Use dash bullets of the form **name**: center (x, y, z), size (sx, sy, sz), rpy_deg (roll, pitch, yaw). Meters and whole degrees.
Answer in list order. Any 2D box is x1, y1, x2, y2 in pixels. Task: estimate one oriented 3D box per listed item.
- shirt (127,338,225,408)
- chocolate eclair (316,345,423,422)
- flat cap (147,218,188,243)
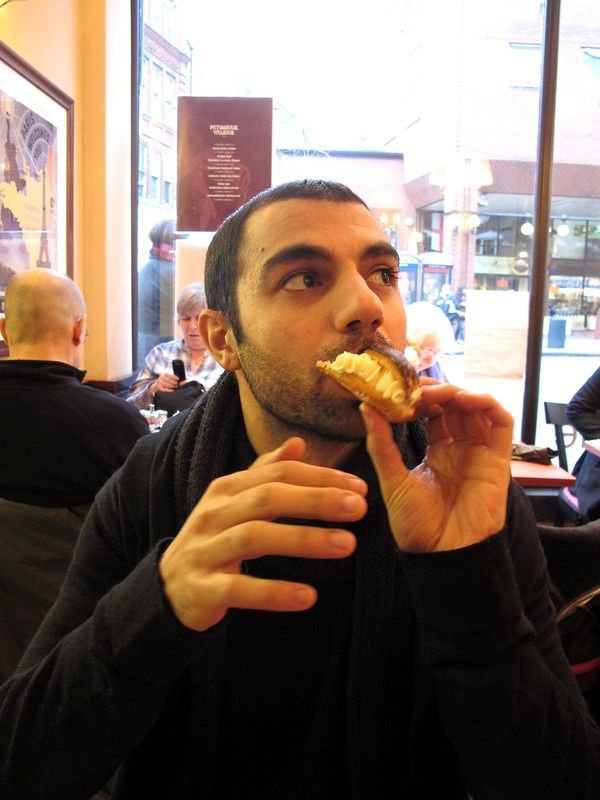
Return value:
- **shirt**: center (-0.762, -0.157, 4.149), size (0.609, 0.233, 0.603), rpy_deg (3, 49, 0)
- **chocolate eclair**: center (0.083, -0.010, 0.738), size (0.091, 0.049, 0.093), rpy_deg (43, 28, 26)
- **flat cap**: center (-0.976, -1.211, 4.709), size (0.230, 0.209, 0.170), rpy_deg (-25, 21, -38)
